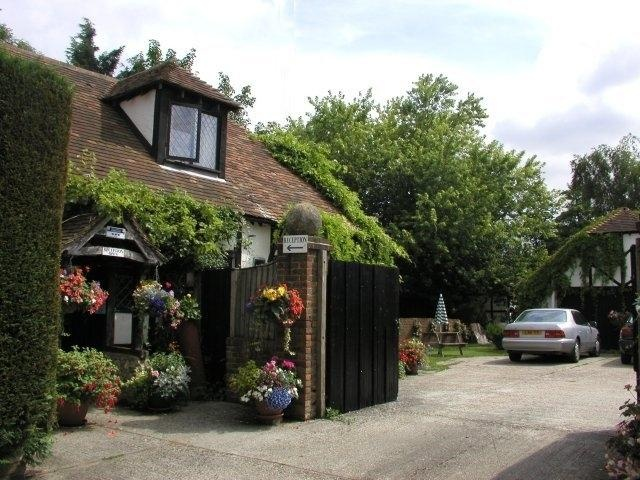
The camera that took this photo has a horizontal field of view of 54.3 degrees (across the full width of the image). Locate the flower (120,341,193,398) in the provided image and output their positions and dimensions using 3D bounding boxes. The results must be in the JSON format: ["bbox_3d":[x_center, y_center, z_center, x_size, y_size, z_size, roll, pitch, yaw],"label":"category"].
[{"bbox_3d":[-3.034,2.535,11.410,1.117,0.855,1.184,5,11,-1],"label":"flower"}]

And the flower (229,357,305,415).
[{"bbox_3d":[-0.847,2.458,10.392,1.093,0.935,0.612,0,0,-4],"label":"flower"}]

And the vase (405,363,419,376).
[{"bbox_3d":[2.263,3.193,15.430,0.259,0.195,0.275,-4,-6,22],"label":"vase"}]

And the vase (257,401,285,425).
[{"bbox_3d":[-0.839,2.836,10.230,0.362,0.300,0.383,2,-9,-13],"label":"vase"}]

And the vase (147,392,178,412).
[{"bbox_3d":[-2.801,2.869,11.050,0.333,0.255,0.358,-1,-11,10],"label":"vase"}]

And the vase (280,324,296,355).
[{"bbox_3d":[-0.550,1.705,10.642,0.222,0.527,0.191,0,0,8],"label":"vase"}]

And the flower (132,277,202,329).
[{"bbox_3d":[-3.045,1.307,12.389,0.756,1.001,1.220,0,-1,28],"label":"flower"}]

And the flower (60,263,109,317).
[{"bbox_3d":[-4.211,0.924,11.164,0.690,0.908,2.784,0,-1,-20],"label":"flower"}]

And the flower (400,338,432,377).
[{"bbox_3d":[2.274,2.959,15.616,0.625,0.772,1.139,0,-1,27],"label":"flower"}]

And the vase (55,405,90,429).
[{"bbox_3d":[-3.914,2.745,9.821,0.375,0.296,0.402,1,-13,-6],"label":"vase"}]

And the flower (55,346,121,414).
[{"bbox_3d":[-3.778,2.186,9.976,1.006,1.096,0.908,12,-7,-39],"label":"flower"}]
